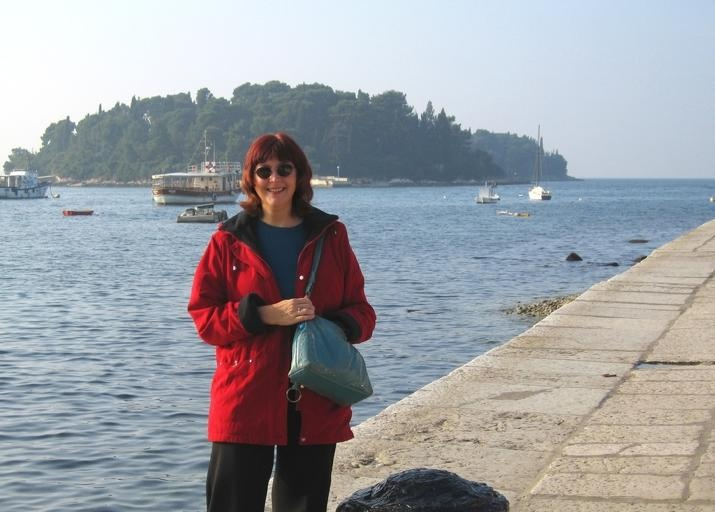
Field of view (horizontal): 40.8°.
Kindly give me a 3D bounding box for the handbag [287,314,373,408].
[{"bbox_3d":[-0.177,0.713,6.551,0.544,0.469,0.208,23,-30,-21],"label":"handbag"}]
